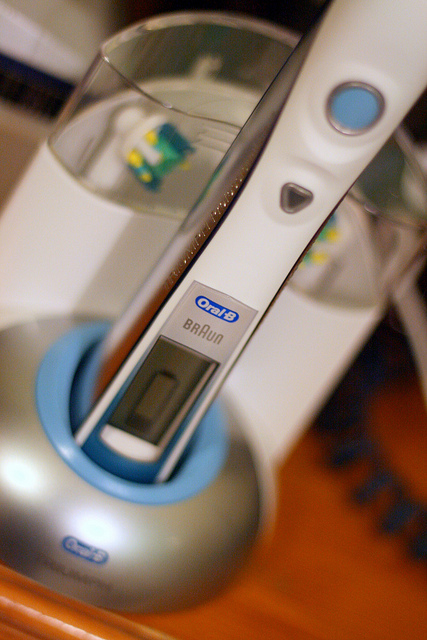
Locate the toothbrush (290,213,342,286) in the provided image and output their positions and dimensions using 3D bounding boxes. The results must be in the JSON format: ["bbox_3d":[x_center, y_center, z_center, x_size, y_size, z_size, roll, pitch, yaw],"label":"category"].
[{"bbox_3d":[0.064,-0.043,0.319,0.009,0.027,0.039,34,78,-15],"label":"toothbrush"}]

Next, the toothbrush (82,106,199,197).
[{"bbox_3d":[-0.036,-0.085,0.299,0.047,0.049,0.011,10,12,-10],"label":"toothbrush"}]
